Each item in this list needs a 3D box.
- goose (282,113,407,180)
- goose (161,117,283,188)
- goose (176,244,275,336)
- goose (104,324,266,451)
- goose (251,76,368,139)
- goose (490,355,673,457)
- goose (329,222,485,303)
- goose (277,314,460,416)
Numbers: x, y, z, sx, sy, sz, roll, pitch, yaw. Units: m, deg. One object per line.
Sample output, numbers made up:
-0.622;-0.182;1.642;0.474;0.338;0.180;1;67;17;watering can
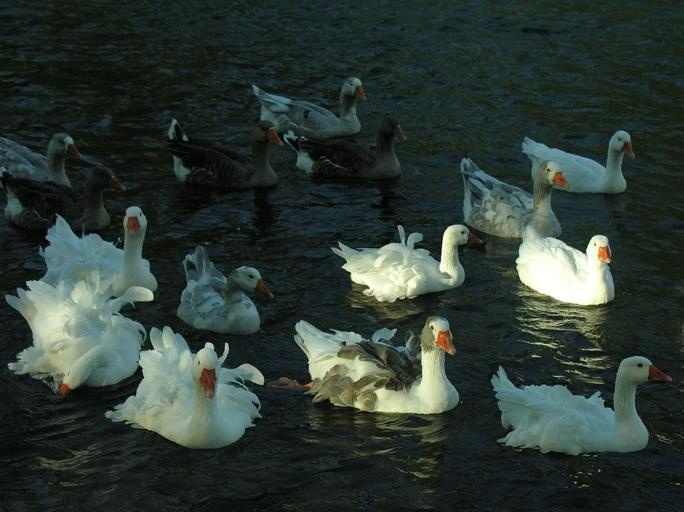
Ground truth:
0.144;-2.663;26.645;2.761;1.425;0.810;2;27;8;goose
-2.839;-2.445;25.969;2.529;1.566;0.963;-4;27;-4;goose
-2.420;0.695;20.944;1.699;1.411;1.128;19;33;37;goose
-2.692;2.355;18.937;2.293;1.524;2.076;-8;44;-27;goose
-0.878;-4.210;29.375;3.677;1.837;1.285;19;33;29;goose
3.972;2.518;18.507;2.641;1.440;0.982;0;27;2;goose
1.250;-0.038;22.610;2.951;1.541;1.968;8;28;12;goose
0.592;1.764;19.363;2.809;1.570;1.793;23;31;28;goose
